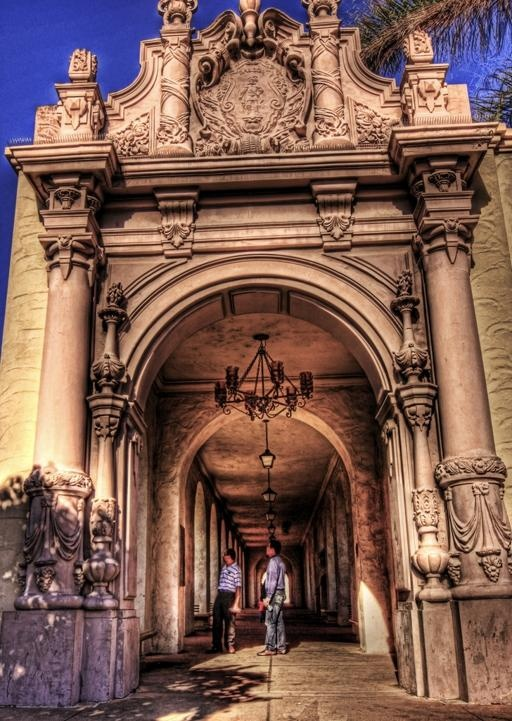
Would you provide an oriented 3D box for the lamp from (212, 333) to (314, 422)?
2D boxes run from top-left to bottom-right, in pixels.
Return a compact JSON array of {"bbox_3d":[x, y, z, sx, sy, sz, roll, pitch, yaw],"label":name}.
[{"bbox_3d":[0.108,0.242,10.300,1.588,1.478,1.654,-11,19,-27],"label":"lamp"}]

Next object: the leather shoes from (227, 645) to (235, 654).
[{"bbox_3d":[-0.368,4.180,8.871,0.080,0.100,0.249,-1,-26,-5],"label":"leather shoes"}]
